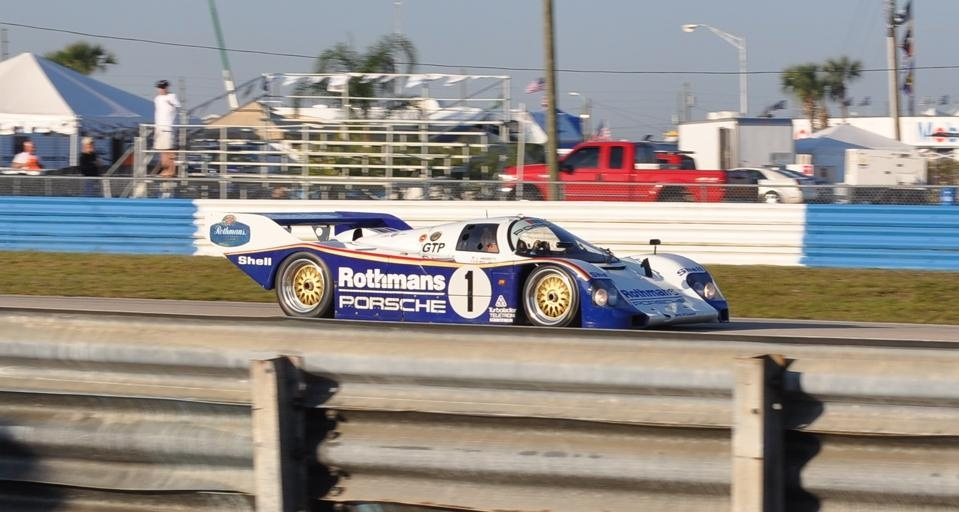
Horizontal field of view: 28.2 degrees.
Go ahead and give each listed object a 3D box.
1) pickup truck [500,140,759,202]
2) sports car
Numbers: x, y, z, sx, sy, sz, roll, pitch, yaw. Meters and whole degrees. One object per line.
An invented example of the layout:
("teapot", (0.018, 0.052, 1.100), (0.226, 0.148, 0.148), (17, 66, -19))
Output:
("pickup truck", (3.413, -1.977, 49.791), (8.555, 1.754, 2.581), (1, 7, -3))
("sports car", (-0.337, 0.422, 42.772), (8.664, 1.342, 3.929), (0, 0, 14))
